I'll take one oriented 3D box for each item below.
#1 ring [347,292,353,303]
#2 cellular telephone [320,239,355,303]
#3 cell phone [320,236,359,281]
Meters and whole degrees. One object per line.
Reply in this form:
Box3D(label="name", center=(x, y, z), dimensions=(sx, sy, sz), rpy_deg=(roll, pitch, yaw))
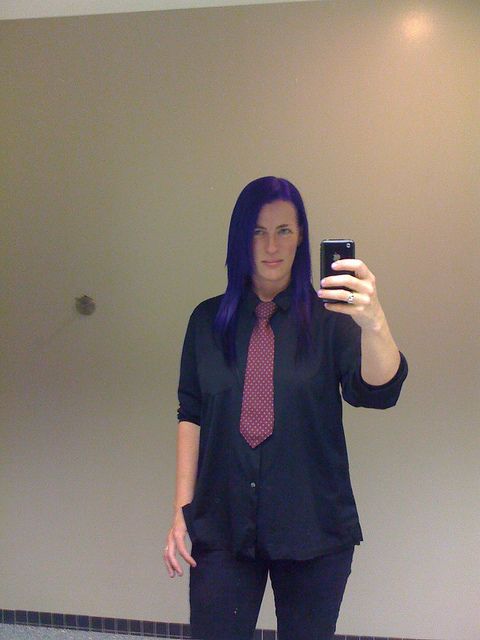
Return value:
Box3D(label="ring", center=(0.203, -0.040, 1.384), dimensions=(0.009, 0.013, 0.014), rpy_deg=(-7, -37, 3))
Box3D(label="cellular telephone", center=(0.191, -0.099, 1.480), dimensions=(0.068, 0.142, 0.015), rpy_deg=(8, -38, -2))
Box3D(label="cell phone", center=(0.201, -0.116, 1.532), dimensions=(0.066, 0.013, 0.131), rpy_deg=(5, -40, 12))
